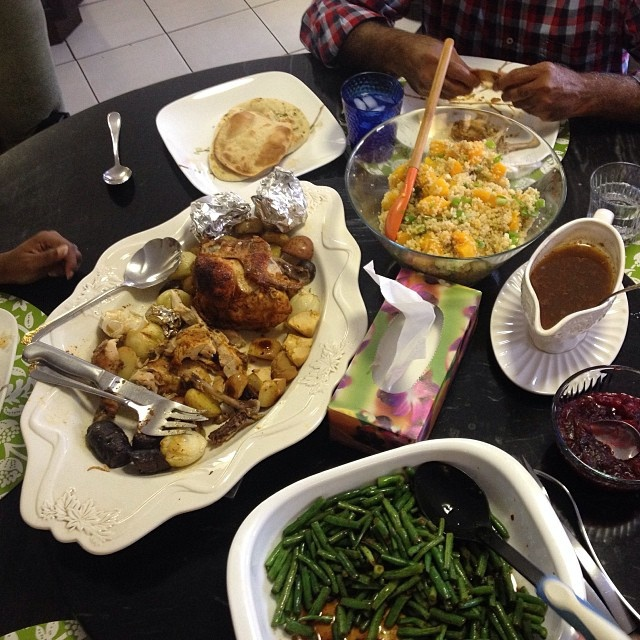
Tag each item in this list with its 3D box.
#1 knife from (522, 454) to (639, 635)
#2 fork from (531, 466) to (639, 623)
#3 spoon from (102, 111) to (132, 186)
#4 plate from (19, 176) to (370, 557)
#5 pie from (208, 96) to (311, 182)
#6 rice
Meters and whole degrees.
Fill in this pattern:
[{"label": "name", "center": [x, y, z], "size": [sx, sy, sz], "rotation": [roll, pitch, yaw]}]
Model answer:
[{"label": "knife", "center": [0.520, 0.450, 1.196], "size": [0.065, 0.036, 0.385], "rotation": [-19, 60, -12]}, {"label": "fork", "center": [0.535, 0.453, 1.207], "size": [0.059, 0.040, 0.346], "rotation": [-22, 66, -26]}, {"label": "spoon", "center": [-0.710, -0.606, 2.121], "size": [0.095, 0.046, 0.312], "rotation": [-8, 57, -9]}, {"label": "plate", "center": [-0.275, 0.127, 1.563], "size": [1.072, 0.207, 0.629], "rotation": [-30, 69, -11]}, {"label": "pie", "center": [-0.206, -0.588, 2.156], "size": [0.367, 0.058, 0.291], "rotation": [-41, 65, -18]}, {"label": "rice", "center": [0.398, -0.309, 1.748], "size": [0.443, 0.183, 0.380], "rotation": [1, 58, 1]}]
